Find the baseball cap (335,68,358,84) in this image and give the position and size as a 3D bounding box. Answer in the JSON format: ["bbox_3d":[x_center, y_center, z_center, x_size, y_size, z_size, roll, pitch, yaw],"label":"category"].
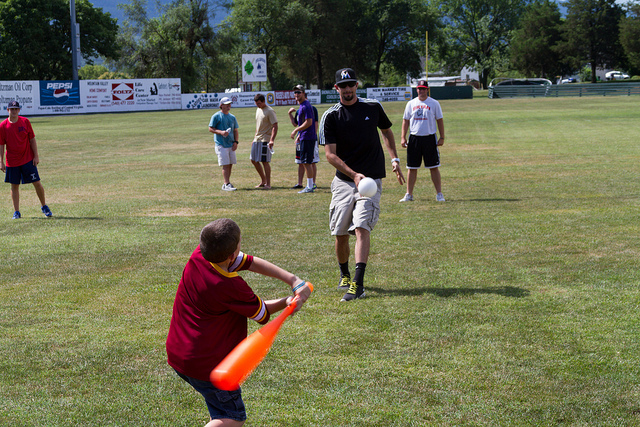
[{"bbox_3d":[0.437,-2.448,15.172,0.341,0.260,0.502,-3,9,1],"label":"baseball cap"}]

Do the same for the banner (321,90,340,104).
[{"bbox_3d":[0.693,-9.566,69.545,1.352,1.053,2.076,-2,9,2],"label":"banner"}]

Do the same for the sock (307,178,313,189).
[{"bbox_3d":[-0.268,-0.769,21.583,0.138,0.278,0.128,-4,9,-4],"label":"sock"}]

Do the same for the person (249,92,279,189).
[{"bbox_3d":[-1.487,-1.883,22.248,0.697,2.445,0.848,-6,9,-16],"label":"person"}]

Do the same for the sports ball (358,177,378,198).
[{"bbox_3d":[0.792,-0.442,14.630,0.314,0.329,0.259,-1,9,15],"label":"sports ball"}]

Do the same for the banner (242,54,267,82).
[{"bbox_3d":[-5.374,-11.814,69.194,2.817,2.593,0.272,-4,28,-7],"label":"banner"}]

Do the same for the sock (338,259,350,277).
[{"bbox_3d":[0.419,0.985,15.442,0.179,0.262,0.199,-3,9,1],"label":"sock"}]

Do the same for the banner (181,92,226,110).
[{"bbox_3d":[-8.549,-8.140,61.612,1.045,1.085,3.790,3,10,32],"label":"banner"}]

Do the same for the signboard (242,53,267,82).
[{"bbox_3d":[-5.375,-11.813,69.191,2.773,2.546,0.294,-4,27,-7],"label":"signboard"}]

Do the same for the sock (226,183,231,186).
[{"bbox_3d":[-2.382,-0.766,22.086,0.089,0.058,0.086,-2,1,-38],"label":"sock"}]

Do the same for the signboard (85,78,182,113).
[{"bbox_3d":[-12.442,-8.067,57.323,8.476,1.939,0.096,2,9,25],"label":"signboard"}]

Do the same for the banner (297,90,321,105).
[{"bbox_3d":[-0.529,-9.419,68.973,0.749,1.049,1.358,1,10,26],"label":"banner"}]
